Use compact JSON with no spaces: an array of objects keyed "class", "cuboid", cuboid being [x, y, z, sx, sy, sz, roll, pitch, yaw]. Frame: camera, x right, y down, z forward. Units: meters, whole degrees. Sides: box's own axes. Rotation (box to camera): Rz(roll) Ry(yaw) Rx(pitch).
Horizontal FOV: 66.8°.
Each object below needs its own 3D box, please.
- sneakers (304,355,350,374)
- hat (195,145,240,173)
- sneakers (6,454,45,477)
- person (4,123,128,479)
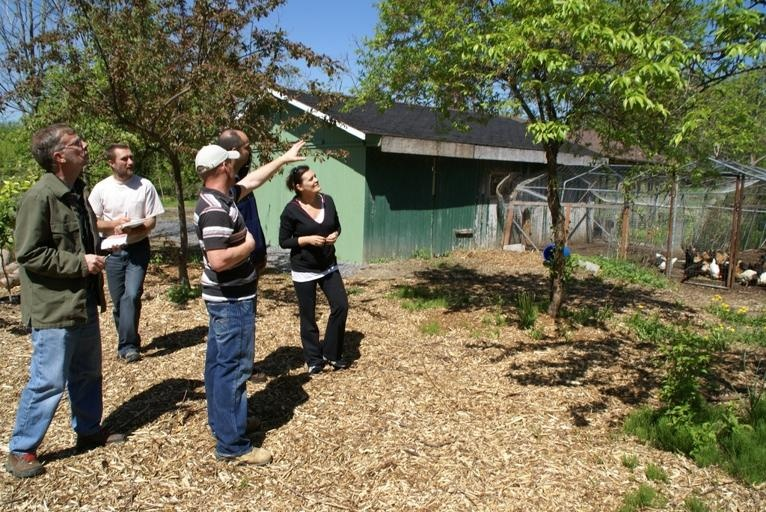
[{"class":"sneakers","cuboid":[-0.725,1.381,7.520,0.582,0.269,0.199,6,19,-26]},{"class":"hat","cuboid":[-1.706,-0.984,5.904,0.261,0.232,0.424,21,48,41]},{"class":"sneakers","cuboid":[-3.497,2.031,5.686,0.336,0.184,0.181,5,4,13]},{"class":"person","cuboid":[-3.261,0.669,5.815,1.016,2.902,0.475,-5,9,-36]}]
